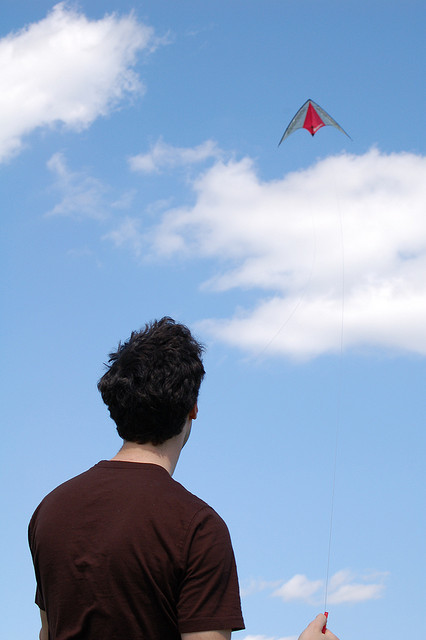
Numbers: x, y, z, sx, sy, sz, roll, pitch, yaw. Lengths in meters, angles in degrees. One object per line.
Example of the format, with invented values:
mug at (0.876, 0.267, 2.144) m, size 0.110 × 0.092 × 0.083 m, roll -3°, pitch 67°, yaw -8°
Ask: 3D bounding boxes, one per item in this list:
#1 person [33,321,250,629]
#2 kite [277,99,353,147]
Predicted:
person at (-0.225, 0.492, 3.233) m, size 0.690 × 1.007 × 0.384 m, roll -3°, pitch -8°, yaw 33°
kite at (0.912, -1.838, 9.310) m, size 0.681 × 0.383 × 0.488 m, roll -7°, pitch 13°, yaw 0°
